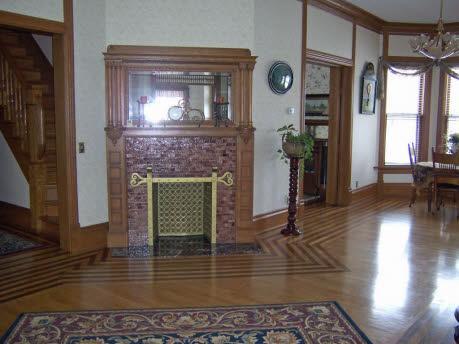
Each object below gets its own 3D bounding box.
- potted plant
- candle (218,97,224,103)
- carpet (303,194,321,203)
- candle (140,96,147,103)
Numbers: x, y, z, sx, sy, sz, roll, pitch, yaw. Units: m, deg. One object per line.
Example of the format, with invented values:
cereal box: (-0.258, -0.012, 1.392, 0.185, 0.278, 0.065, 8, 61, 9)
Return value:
potted plant: (0.993, -0.291, 5.694, 0.521, 0.625, 0.485, -1, -1, -18)
candle: (-0.123, -0.992, 5.176, 0.078, 0.075, 0.080, 2, 8, 6)
carpet: (1.806, 0.576, 8.244, 0.392, 0.056, 0.750, 4, 13, 13)
candle: (-1.145, -0.961, 5.009, 0.088, 0.085, 0.021, 0, 9, -17)
